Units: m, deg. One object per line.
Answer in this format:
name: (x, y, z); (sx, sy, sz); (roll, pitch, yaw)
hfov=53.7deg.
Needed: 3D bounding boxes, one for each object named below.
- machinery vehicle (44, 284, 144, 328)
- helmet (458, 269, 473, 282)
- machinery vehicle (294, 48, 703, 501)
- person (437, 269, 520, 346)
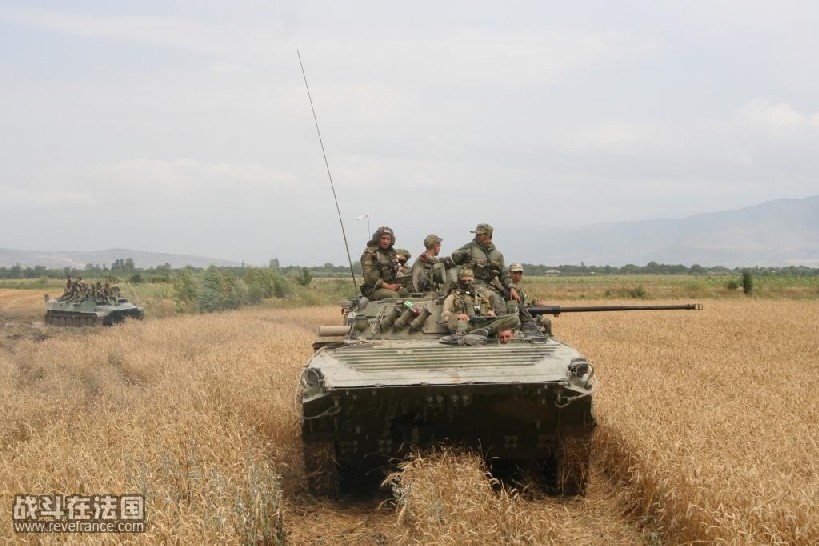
machinery vehicle: (-9.783, 0.926, 24.658); (2.525, 1.380, 1.772); (0, -3, 3)
helmet: (0.945, 0.049, 13.750); (0.166, 0.201, 0.262); (-1, 0, -8)
machinery vehicle: (0.515, 1.549, 16.106); (4.221, 5.131, 9.404); (1, -9, -3)
person: (1.077, 0.535, 13.565); (1.402, 1.386, 1.152); (-3, -5, -13)
